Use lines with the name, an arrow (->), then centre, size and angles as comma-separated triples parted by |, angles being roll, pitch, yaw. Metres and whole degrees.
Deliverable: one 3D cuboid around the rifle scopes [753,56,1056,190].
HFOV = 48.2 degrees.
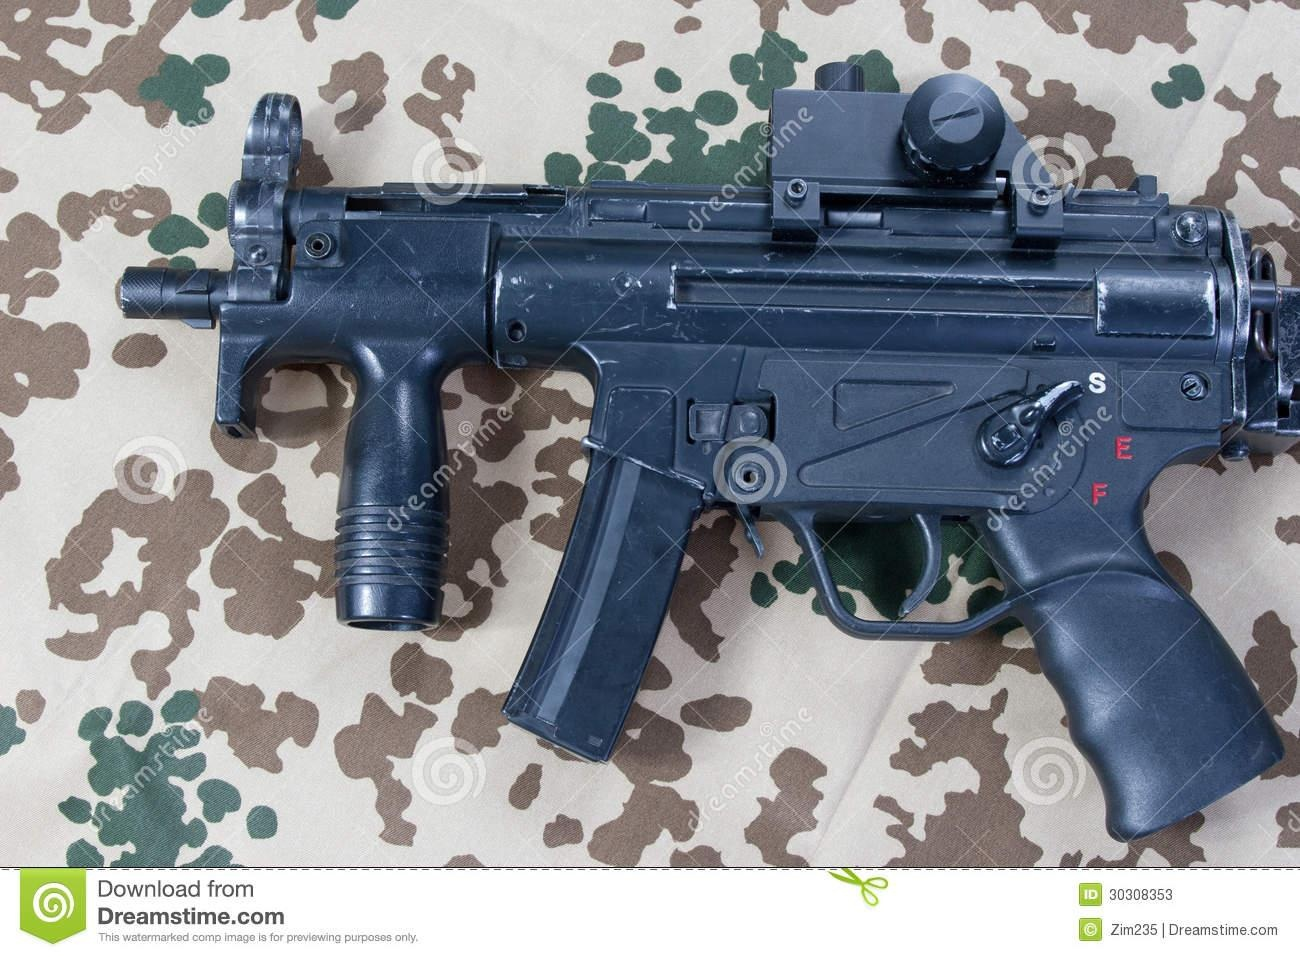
rifle scopes -> 0.453, -0.640, 2.754 | 0.395, 0.262, 0.192 | 2, -82, -1
